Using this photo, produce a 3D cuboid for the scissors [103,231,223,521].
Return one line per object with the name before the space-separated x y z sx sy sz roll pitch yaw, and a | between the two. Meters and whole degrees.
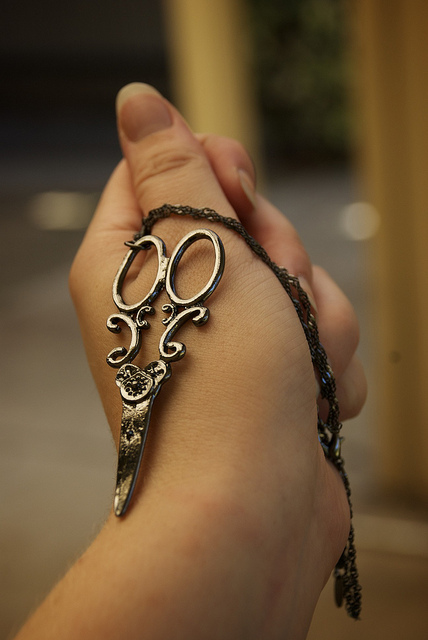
scissors | -0.028 0.039 0.529 0.094 0.024 0.223 0 57 40
